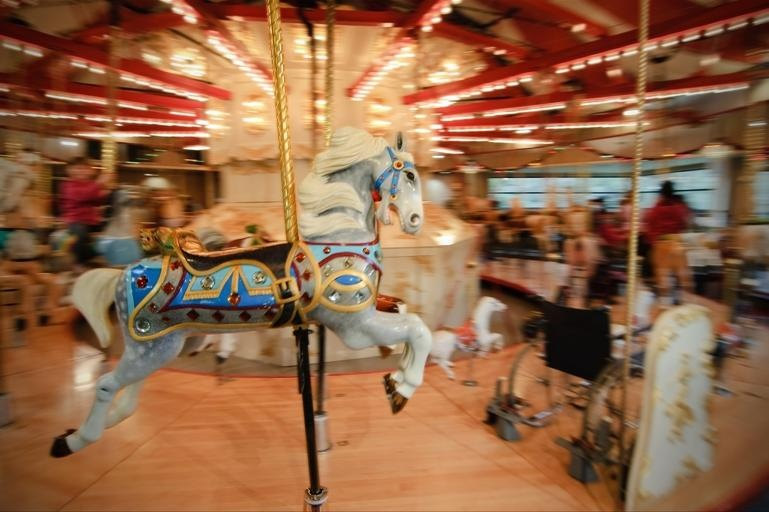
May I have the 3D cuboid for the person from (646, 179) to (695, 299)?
[{"bbox_3d":[1.974,-0.114,3.646,0.324,0.823,0.142,7,9,30],"label":"person"}]
